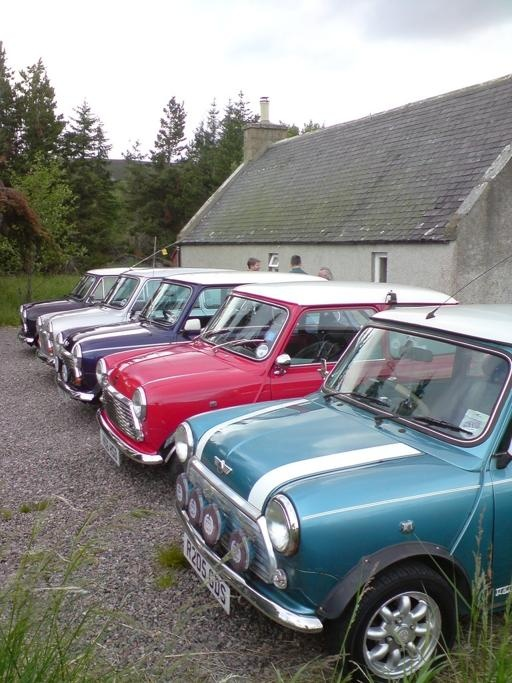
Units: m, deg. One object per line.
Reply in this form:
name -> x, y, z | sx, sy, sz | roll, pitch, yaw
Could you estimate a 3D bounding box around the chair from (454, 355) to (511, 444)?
chair -> 1.050, 0.251, 2.792 | 0.221, 0.354, 0.223 | 22, 12, -30
